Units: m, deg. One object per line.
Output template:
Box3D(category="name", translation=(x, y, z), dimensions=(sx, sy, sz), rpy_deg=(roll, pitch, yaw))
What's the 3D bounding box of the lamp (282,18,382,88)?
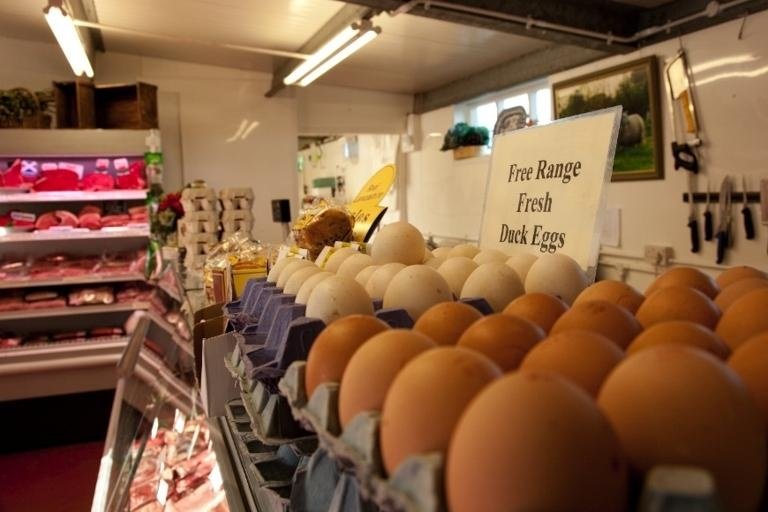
Box3D(category="lamp", translation=(-0.553, -1.847, 4.430), dimensions=(0.411, 0.147, 1.766), rpy_deg=(9, -6, -21))
